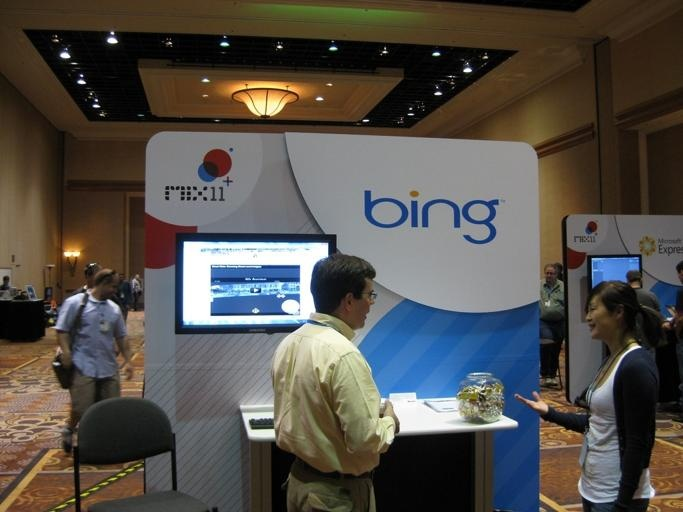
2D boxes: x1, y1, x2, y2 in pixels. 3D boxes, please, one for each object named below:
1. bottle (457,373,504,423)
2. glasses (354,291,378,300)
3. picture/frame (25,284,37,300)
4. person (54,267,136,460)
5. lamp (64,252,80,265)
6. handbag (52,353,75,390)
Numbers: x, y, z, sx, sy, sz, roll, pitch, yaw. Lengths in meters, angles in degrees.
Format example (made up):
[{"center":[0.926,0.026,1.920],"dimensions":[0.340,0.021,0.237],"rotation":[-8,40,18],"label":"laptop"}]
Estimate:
[{"center":[0.810,0.816,3.319],"dimensions":[0.253,0.272,0.255],"rotation":[-1,3,-38],"label":"bottle"},{"center":[0.109,0.184,2.575],"dimensions":[0.095,0.029,0.098],"rotation":[-2,1,0],"label":"glasses"},{"center":[-6.885,0.794,12.149],"dimensions":[0.162,0.175,0.237],"rotation":[-13,-5,5],"label":"picture/frame"},{"center":[-2.109,0.888,4.686],"dimensions":[0.538,1.546,0.437],"rotation":[2,11,-25],"label":"person"},{"center":[-7.901,0.030,16.119],"dimensions":[0.423,0.460,0.298],"rotation":[1,-4,-20],"label":"lamp"},{"center":[-2.331,0.961,4.603],"dimensions":[0.142,0.313,0.299],"rotation":[1,-2,-28],"label":"handbag"}]
